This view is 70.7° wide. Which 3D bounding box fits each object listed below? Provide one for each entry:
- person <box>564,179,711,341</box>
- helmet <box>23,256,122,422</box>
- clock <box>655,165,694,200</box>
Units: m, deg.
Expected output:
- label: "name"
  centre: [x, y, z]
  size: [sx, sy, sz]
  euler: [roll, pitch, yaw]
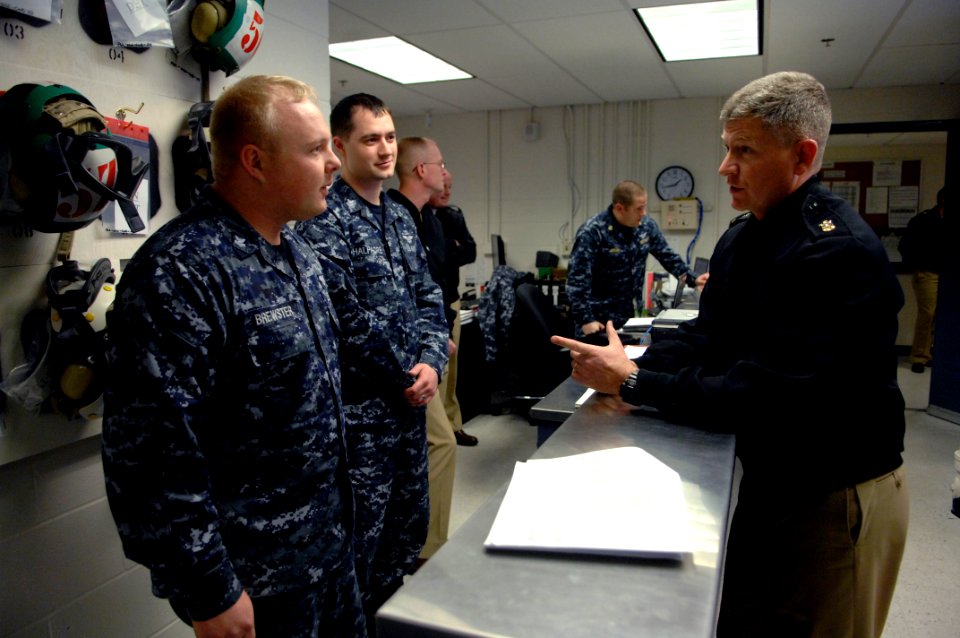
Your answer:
- label: "person"
  centre: [1.221, -0.450, 5.037]
  size: [1.005, 1.549, 0.562]
  euler: [-23, 44, -23]
- label: "helmet"
  centre: [-1.198, 0.053, 2.030]
  size: [0.318, 0.417, 0.184]
  euler: [-1, 1, 1]
- label: "clock"
  centre: [1.988, -1.396, 6.896]
  size: [0.385, 0.376, 0.050]
  euler: [1, 4, 7]
